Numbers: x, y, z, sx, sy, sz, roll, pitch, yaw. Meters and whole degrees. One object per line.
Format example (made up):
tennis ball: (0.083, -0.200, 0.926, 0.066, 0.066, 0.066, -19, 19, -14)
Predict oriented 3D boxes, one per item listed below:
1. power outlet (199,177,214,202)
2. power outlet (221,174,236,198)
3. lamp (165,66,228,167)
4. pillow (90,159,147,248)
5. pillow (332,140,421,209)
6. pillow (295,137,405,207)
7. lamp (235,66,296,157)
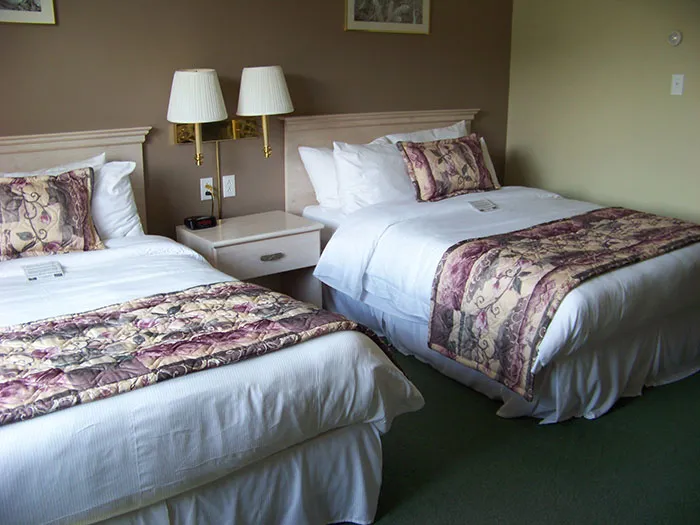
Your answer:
power outlet: (-0.979, -0.507, 3.454, 0.132, 0.235, 0.023, -9, 19, -41)
power outlet: (-0.849, -0.543, 3.535, 0.131, 0.197, 0.018, -11, 20, -42)
lamp: (-0.882, -0.903, 3.001, 0.364, 0.653, 0.383, 0, 21, 0)
pillow: (-1.287, -0.347, 2.807, 0.107, 0.396, 0.344, 5, 16, 39)
pillow: (0.196, -0.611, 3.563, 0.450, 0.336, 0.168, -6, 9, -25)
pillow: (0.066, -0.623, 3.599, 0.545, 0.592, 0.172, -12, -12, -12)
lamp: (-0.543, -1.000, 3.272, 0.375, 0.603, 0.405, 18, 31, 37)
